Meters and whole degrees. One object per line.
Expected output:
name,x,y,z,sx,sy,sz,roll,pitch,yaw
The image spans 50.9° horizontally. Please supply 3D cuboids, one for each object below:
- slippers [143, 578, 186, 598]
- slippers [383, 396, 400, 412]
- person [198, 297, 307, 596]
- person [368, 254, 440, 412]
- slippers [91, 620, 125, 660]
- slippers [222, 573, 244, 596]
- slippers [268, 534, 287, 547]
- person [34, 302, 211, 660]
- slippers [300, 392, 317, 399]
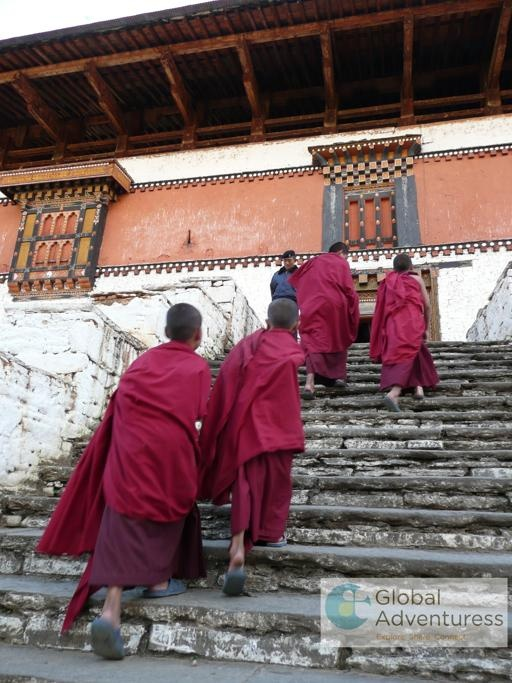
slippers,-0.330,0.906,2.006,0.121,0.046,0.065,6,-13,-34
slippers,0.978,0.434,3.940,0.066,0.169,0.064,0,-40,-29
person,0.017,0.439,2.312,0.390,1.148,0.417,15,-18,-31
person,1.222,-0.139,4.393,0.445,1.327,0.466,9,-16,-10
slippers,-0.466,0.928,1.720,0.081,0.151,0.070,-9,12,4
slippers,-0.084,0.878,1.967,0.066,0.110,0.072,4,29,0
slippers,0.092,0.836,2.262,0.042,0.041,0.103,-1,-14,4
person,-0.390,0.436,2.134,0.527,1.322,0.524,17,-19,-36
slippers,0.420,0.435,4.335,0.112,0.042,0.047,-3,16,-2
